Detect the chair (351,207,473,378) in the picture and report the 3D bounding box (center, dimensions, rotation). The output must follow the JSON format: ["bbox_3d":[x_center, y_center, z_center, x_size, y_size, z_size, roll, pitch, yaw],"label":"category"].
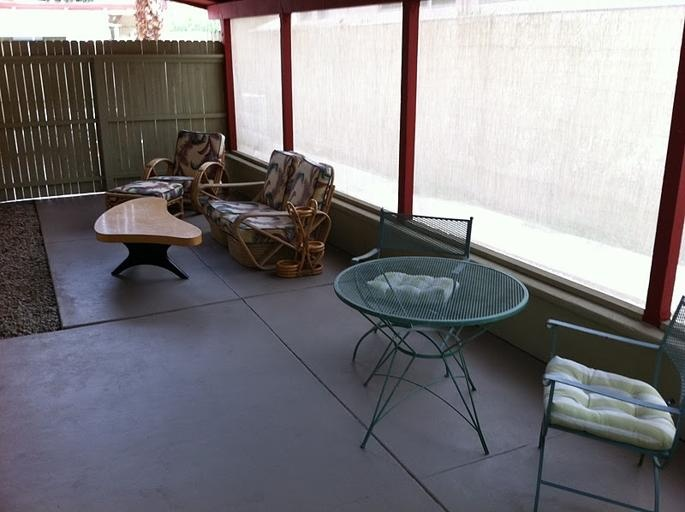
[{"bbox_3d":[0.719,0.169,4.213,1.146,1.684,1.099,8,18,25],"label":"chair"}]

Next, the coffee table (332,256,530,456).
[{"bbox_3d":[0.590,0.815,3.457,1.258,1.009,1.265,1,-3,-30],"label":"coffee table"}]

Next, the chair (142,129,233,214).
[{"bbox_3d":[-2.520,-1.355,7.603,1.186,1.223,1.009,10,20,26],"label":"chair"}]

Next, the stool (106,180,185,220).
[{"bbox_3d":[-2.747,-0.934,6.827,0.745,0.565,0.774,12,20,32],"label":"stool"}]

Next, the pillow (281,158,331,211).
[{"bbox_3d":[-0.474,-0.862,5.808,0.259,0.726,0.692,4,18,-46],"label":"pillow"}]

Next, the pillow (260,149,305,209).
[{"bbox_3d":[-0.755,-0.988,6.382,0.411,0.806,0.780,3,14,-33],"label":"pillow"}]
